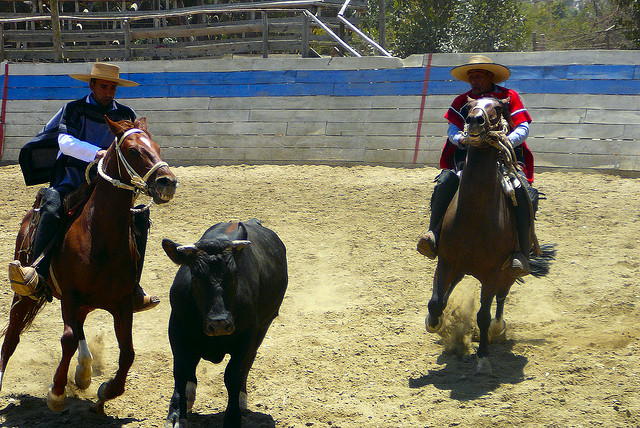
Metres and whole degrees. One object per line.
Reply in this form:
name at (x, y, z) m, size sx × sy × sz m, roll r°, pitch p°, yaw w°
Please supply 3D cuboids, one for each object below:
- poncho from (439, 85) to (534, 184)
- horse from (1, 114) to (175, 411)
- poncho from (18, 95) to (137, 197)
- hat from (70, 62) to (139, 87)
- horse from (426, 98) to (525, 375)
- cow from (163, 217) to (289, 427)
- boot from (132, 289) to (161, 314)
poncho at (3.462, -1.620, 20.926) m, size 1.873 × 1.956 × 0.963 m, roll 3°, pitch 12°, yaw 6°
horse at (-4.154, 0.890, 19.145) m, size 3.004 × 5.357 × 1.664 m, roll 3°, pitch 12°, yaw 4°
poncho at (-4.704, -1.350, 19.586) m, size 1.950 × 1.776 × 0.623 m, roll -1°, pitch 12°, yaw -16°
hat at (-4.143, -2.679, 19.757) m, size 1.160 × 0.434 × 0.747 m, roll 0°, pitch 11°, yaw -11°
horse at (3.186, 0.331, 20.040) m, size 1.744 × 5.121 × 1.249 m, roll 4°, pitch 12°, yaw 10°
cow at (-1.709, 1.994, 18.588) m, size 2.298 × 3.649 × 1.202 m, roll -6°, pitch 14°, yaw -34°
boot at (-3.268, 1.692, 19.692) m, size 0.706 × 0.243 × 0.233 m, roll -12°, pitch 12°, yaw -41°
